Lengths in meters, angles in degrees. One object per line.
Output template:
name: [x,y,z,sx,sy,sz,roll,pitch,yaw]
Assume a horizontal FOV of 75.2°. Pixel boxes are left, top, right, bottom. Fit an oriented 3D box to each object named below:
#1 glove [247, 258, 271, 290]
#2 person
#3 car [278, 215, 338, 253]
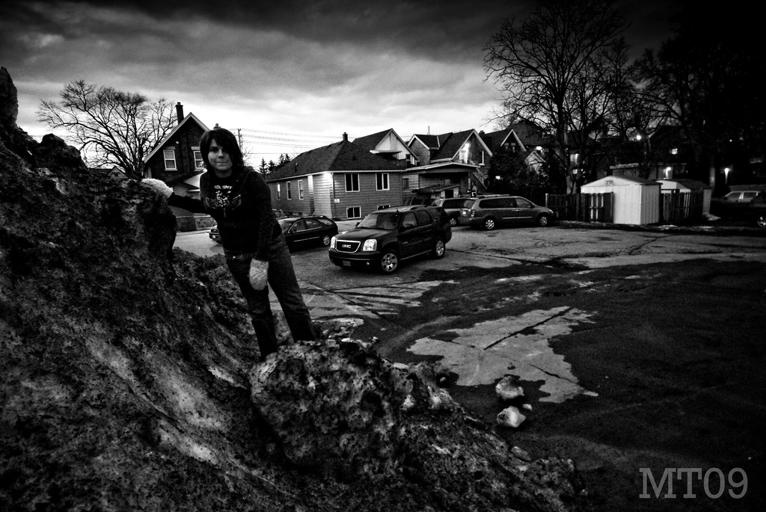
glove: [-1.246,0.204,4.844,0.207,0.322,0.187,-7,-9,15]
person: [-1.416,-0.144,4.996,1.215,2.217,0.619,-1,8,16]
car: [-2.882,-0.855,18.551,1.220,0.959,2.720,0,4,40]
